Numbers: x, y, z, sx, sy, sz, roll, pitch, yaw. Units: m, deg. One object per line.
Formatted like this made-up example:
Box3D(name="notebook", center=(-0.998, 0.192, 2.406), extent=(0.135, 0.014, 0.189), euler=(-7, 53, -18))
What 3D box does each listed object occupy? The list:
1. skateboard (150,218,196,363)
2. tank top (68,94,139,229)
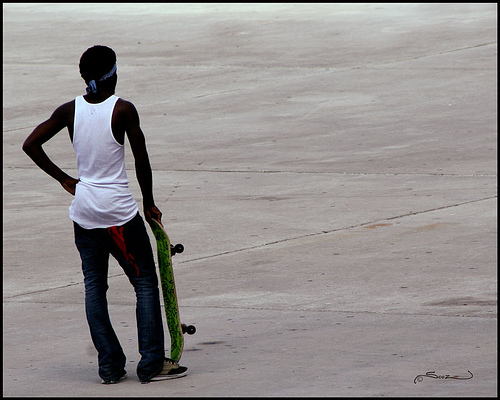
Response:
Box3D(name="skateboard", center=(-0.652, 0.747, 9.369), extent=(0.212, 1.183, 0.335), euler=(-12, 8, -29))
Box3D(name="tank top", center=(-1.243, -0.303, 9.135), extent=(0.545, 1.061, 0.334), euler=(-8, 17, -6))
